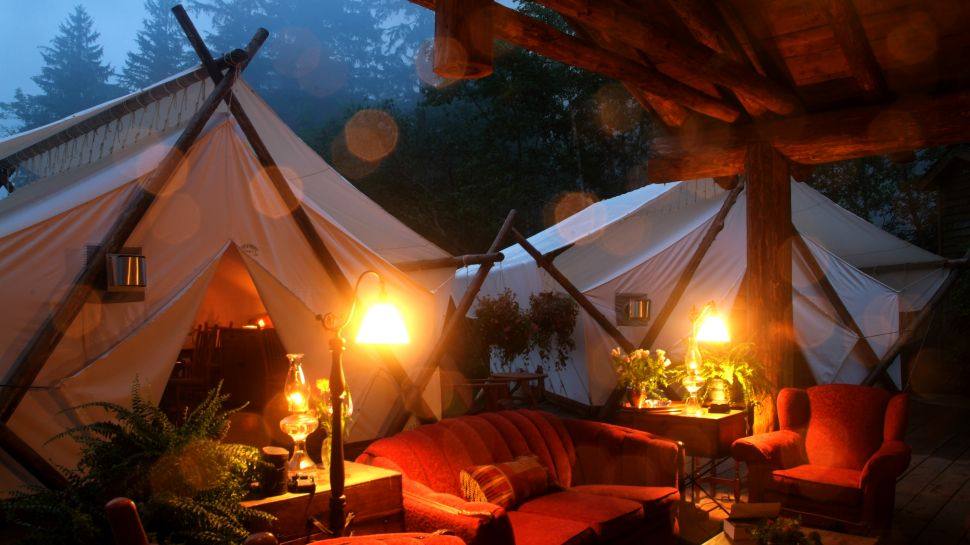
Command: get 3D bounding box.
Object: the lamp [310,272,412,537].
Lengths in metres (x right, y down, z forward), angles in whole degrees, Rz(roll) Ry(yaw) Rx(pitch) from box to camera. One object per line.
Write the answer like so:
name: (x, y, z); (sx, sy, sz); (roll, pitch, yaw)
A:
lamp: (-1.414, 1.051, 7.831); (0.996, 3.281, 1.142); (3, -2, -45)

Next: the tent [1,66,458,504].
tent: (-5.630, -0.318, 12.084); (6.619, 4.206, 6.412); (-3, 2, -38)

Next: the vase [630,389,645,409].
vase: (2.105, 1.766, 9.834); (0.251, 0.243, 0.234); (0, -10, 0)

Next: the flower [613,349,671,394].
flower: (2.231, 1.368, 10.110); (0.565, 0.526, 0.593); (-1, 2, -17)

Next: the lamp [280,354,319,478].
lamp: (-2.020, 1.546, 7.692); (0.393, 1.289, 0.374); (2, -1, -9)

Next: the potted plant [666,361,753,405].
potted plant: (3.286, 1.658, 10.511); (1.468, 0.606, 1.405); (-5, -1, 9)
